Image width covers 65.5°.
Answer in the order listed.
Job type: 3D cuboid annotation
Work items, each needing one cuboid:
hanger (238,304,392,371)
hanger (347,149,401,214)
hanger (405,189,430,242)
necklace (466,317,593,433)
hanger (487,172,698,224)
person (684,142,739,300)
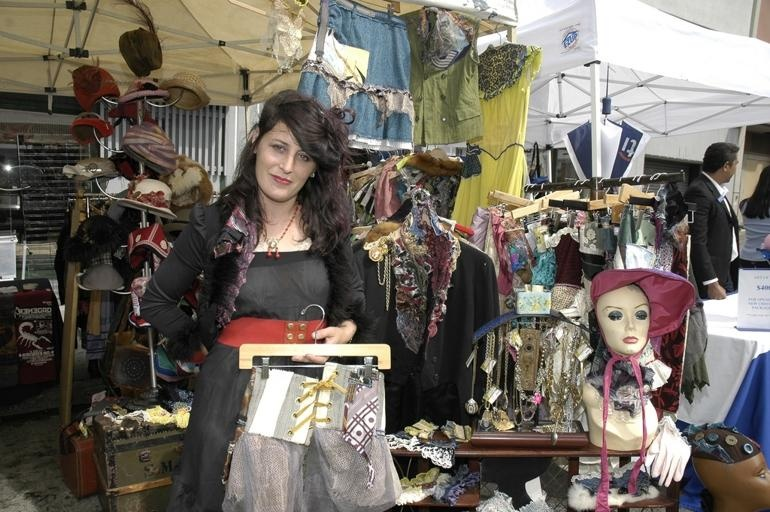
[{"bbox_3d":[-0.399,0.541,3.529,0.867,0.299,0.150,0,-4,1],"label":"hanger"},{"bbox_3d":[-0.077,-0.562,4.653,0.368,0.204,0.515,5,-39,-23],"label":"hanger"},{"bbox_3d":[0.258,-0.283,4.154,0.234,0.379,0.096,6,7,26],"label":"hanger"},{"bbox_3d":[0.998,0.847,4.217,0.774,0.741,0.306,1,-1,0],"label":"necklace"},{"bbox_3d":[1.525,-0.470,4.671,1.428,0.414,0.661,6,7,27],"label":"hanger"},{"bbox_3d":[3.445,-0.384,6.300,0.526,1.641,1.431,6,7,30],"label":"person"}]
